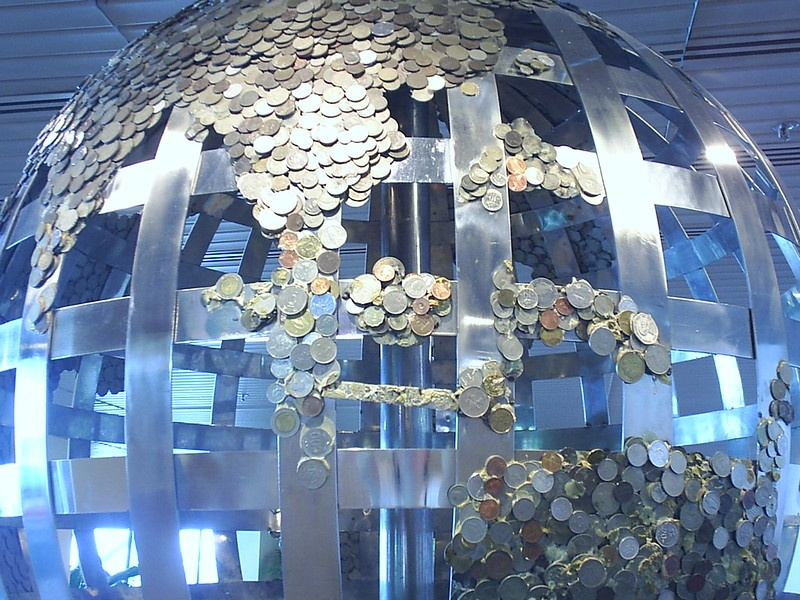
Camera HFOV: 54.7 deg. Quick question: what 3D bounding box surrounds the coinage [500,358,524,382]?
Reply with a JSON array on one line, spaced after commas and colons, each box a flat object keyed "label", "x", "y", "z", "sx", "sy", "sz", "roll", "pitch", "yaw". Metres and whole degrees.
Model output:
[{"label": "coinage", "x": 0.456, "y": 0.281, "z": 3.157, "sx": 0.085, "sy": 0.086, "sz": 0.023, "roll": 11, "pitch": -3, "yaw": -2}]
